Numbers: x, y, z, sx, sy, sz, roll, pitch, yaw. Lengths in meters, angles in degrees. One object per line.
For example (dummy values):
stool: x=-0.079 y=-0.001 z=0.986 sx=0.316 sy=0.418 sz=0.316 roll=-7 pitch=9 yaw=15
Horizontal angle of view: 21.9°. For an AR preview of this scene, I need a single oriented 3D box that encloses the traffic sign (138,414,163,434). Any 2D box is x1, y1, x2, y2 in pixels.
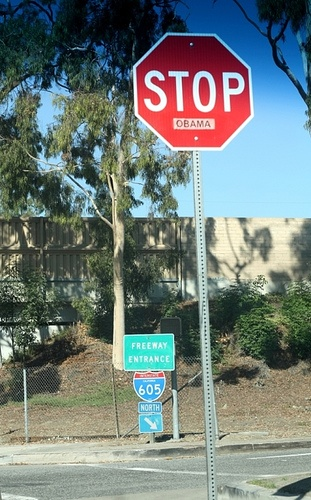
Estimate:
traffic sign: x=-0.085 y=2.996 z=14.048 sx=0.492 sy=0.525 sz=0.074 roll=-1 pitch=-4 yaw=3
